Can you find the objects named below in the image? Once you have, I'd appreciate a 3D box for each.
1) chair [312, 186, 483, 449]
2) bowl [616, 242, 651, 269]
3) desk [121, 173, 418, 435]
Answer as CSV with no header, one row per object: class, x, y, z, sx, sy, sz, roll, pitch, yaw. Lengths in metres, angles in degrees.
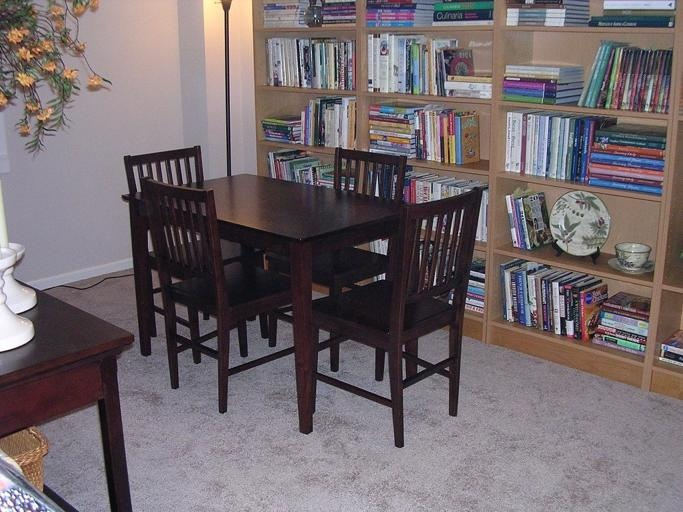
chair,0.215,0.230,2.479,0.589,1.085,0.674,-10,17,-35
bowl,1.526,-0.002,2.823,0.151,0.097,0.148,5,15,-1
desk,-0.326,0.402,3.097,1.712,1.242,1.058,23,34,38
